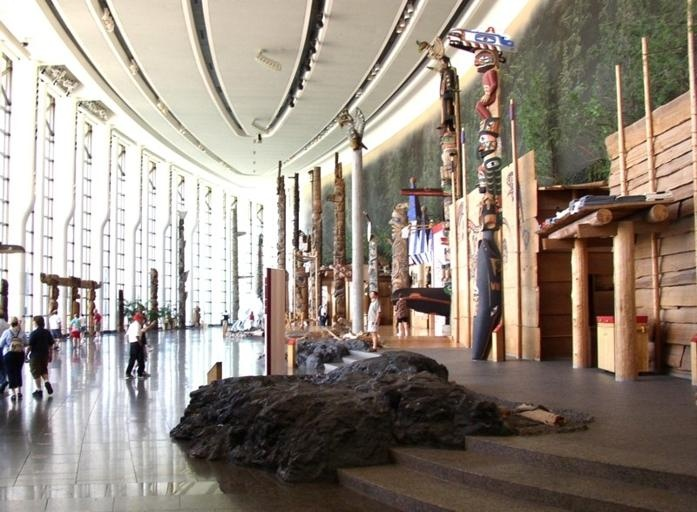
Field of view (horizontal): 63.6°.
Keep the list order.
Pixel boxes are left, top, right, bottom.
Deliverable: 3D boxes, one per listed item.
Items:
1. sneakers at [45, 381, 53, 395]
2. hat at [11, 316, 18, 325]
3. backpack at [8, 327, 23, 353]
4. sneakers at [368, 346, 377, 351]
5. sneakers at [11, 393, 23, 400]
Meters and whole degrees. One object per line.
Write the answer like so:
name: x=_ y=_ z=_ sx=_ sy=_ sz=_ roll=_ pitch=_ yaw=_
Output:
sneakers: x=-5.818 y=2.548 z=10.936 sx=0.141 sy=0.283 sz=0.124 roll=-10 pitch=-10 yaw=8
hat: x=-6.470 y=1.234 z=10.889 sx=0.121 sy=0.169 sz=0.164 roll=0 pitch=-4 yaw=-2
backpack: x=-6.358 y=1.601 z=10.717 sx=0.313 sy=0.487 sz=0.279 roll=7 pitch=-20 yaw=-39
sneakers: x=0.587 y=2.232 z=13.552 sx=0.168 sy=0.102 sz=0.361 roll=-5 pitch=-9 yaw=1
sneakers: x=-6.249 y=2.636 z=10.590 sx=0.130 sy=0.162 sz=0.376 roll=2 pitch=-5 yaw=-25
